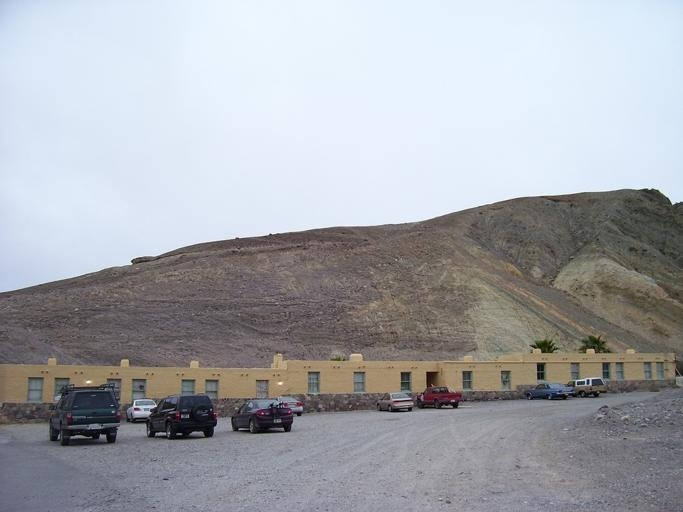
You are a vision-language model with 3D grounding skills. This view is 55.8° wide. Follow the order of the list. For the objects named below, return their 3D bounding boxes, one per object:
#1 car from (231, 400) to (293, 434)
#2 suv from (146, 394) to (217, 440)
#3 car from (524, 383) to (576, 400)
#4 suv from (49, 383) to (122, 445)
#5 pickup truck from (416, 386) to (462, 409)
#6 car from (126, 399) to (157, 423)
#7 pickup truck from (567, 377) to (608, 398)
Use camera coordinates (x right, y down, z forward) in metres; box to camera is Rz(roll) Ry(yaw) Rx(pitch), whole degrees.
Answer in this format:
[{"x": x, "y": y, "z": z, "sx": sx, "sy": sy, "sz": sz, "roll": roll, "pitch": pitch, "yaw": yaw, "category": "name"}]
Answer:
[{"x": -3.566, "y": 6.939, "z": 28.358, "sx": 1.532, "sy": 0.730, "sz": 2.887, "roll": 5, "pitch": -9, "yaw": -28, "category": "car"}, {"x": -6.553, "y": 6.427, "z": 26.235, "sx": 2.622, "sy": 1.726, "sz": 1.293, "roll": -1, "pitch": -6, "yaw": 29, "category": "suv"}, {"x": 15.011, "y": 9.824, "z": 46.995, "sx": 1.587, "sy": 0.660, "sz": 2.713, "roll": 4, "pitch": -7, "yaw": -30, "category": "car"}, {"x": -10.271, "y": 6.306, "z": 25.852, "sx": 2.302, "sy": 1.539, "sz": 3.906, "roll": 5, "pitch": -14, "yaw": -29, "category": "suv"}, {"x": 6.493, "y": 9.365, "z": 42.796, "sx": 1.602, "sy": 0.848, "sz": 2.908, "roll": 5, "pitch": -8, "yaw": -31, "category": "pickup truck"}, {"x": -11.286, "y": 8.756, "z": 36.668, "sx": 1.509, "sy": 0.802, "sz": 2.994, "roll": 2, "pitch": -6, "yaw": -24, "category": "car"}, {"x": 18.246, "y": 9.777, "z": 48.124, "sx": 2.039, "sy": 0.975, "sz": 3.194, "roll": 3, "pitch": -5, "yaw": -27, "category": "pickup truck"}]
